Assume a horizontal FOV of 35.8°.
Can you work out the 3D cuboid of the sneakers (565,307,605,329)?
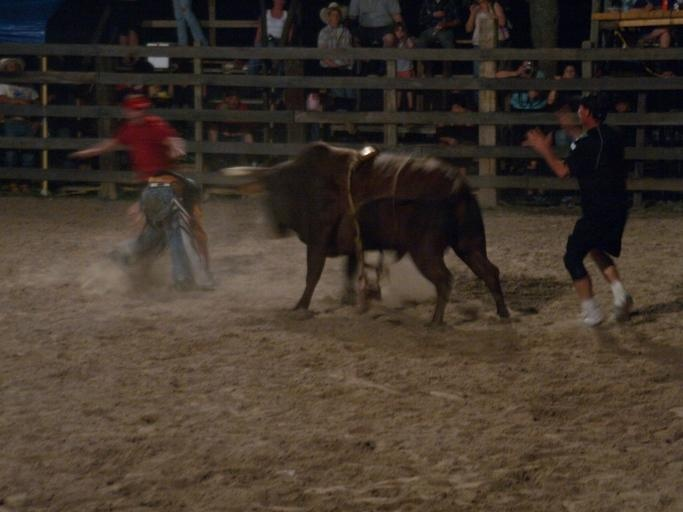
[{"bbox_3d":[2.030,0.471,8.752,0.246,0.231,0.121,7,17,41],"label":"sneakers"}]

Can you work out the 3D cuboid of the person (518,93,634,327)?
[{"bbox_3d":[2.034,-0.377,8.755,0.760,1.862,0.345,1,10,11],"label":"person"}]
